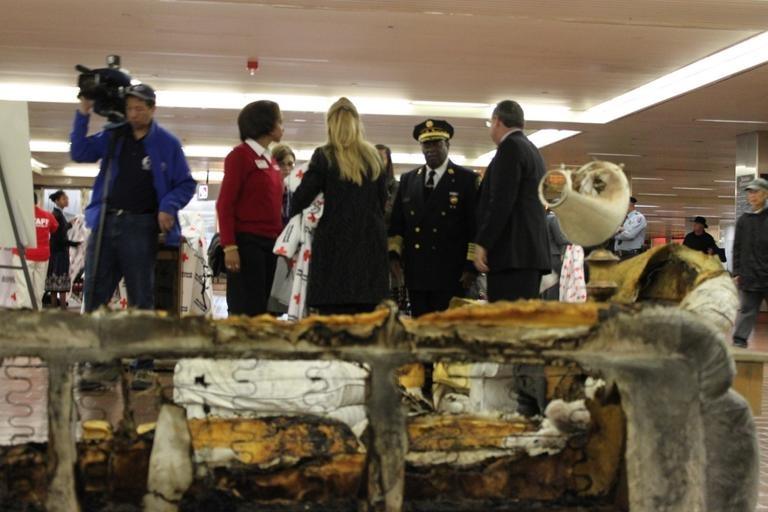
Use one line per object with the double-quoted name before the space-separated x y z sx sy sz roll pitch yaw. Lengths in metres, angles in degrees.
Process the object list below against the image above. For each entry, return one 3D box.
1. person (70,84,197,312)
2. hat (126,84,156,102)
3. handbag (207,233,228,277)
"person" -1.998 -0.232 7.678 0.877 2.072 0.624 6 7 -2
"hat" -1.836 -1.231 7.506 0.122 0.146 0.269 1 0 27
"handbag" -1.287 0.011 7.691 0.210 0.360 0.382 0 5 -5
